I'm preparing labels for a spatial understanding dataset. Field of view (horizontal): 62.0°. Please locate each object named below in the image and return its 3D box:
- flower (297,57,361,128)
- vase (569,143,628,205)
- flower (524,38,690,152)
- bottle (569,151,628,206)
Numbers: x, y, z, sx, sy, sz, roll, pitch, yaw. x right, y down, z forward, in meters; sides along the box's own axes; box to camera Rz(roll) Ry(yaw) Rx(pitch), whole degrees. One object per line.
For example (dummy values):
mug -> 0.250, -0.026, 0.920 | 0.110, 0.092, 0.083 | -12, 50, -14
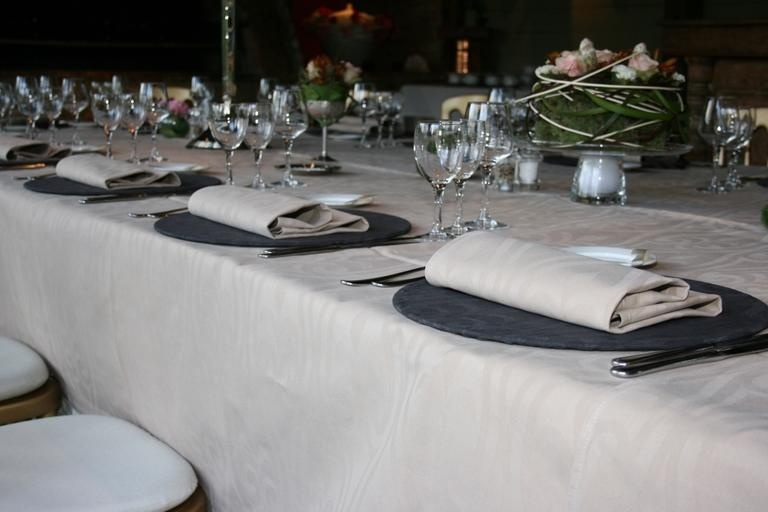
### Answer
flower -> -0.220, -0.595, 2.305 | 0.249, 0.260, 0.260 | 15, 23, 38
vase -> 0.516, -0.188, 1.538 | 0.117, 0.124, 0.118 | 4, 11, 23
flower -> 0.518, -0.339, 1.507 | 0.306, 0.180, 0.293 | -4, 9, -16
bottle -> 0.519, -0.187, 1.535 | 0.115, 0.121, 0.110 | -12, 13, -33
